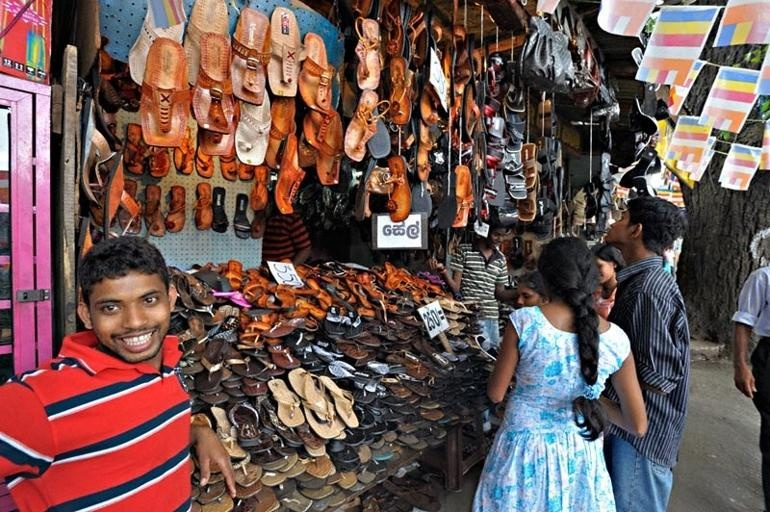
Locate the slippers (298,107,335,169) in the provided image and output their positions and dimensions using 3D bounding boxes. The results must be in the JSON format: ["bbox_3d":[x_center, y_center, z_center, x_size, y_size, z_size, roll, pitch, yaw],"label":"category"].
[{"bbox_3d":[-0.424,-0.709,3.197,0.165,0.351,0.123,21,16,-29],"label":"slippers"}]

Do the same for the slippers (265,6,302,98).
[{"bbox_3d":[-0.558,-1.122,3.035,0.185,0.508,0.115,-2,-1,-28],"label":"slippers"}]

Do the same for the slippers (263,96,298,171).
[{"bbox_3d":[-0.604,-0.700,3.149,0.160,0.393,0.104,0,16,-36],"label":"slippers"}]

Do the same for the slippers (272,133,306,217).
[{"bbox_3d":[-0.583,-0.461,3.154,0.141,0.450,0.173,3,-5,17],"label":"slippers"}]

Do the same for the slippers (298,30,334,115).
[{"bbox_3d":[-0.418,-1.022,3.168,0.199,0.464,0.132,-4,-2,-36],"label":"slippers"}]

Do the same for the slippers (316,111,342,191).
[{"bbox_3d":[-0.346,-0.617,3.230,0.165,0.414,0.117,-5,18,-27],"label":"slippers"}]
